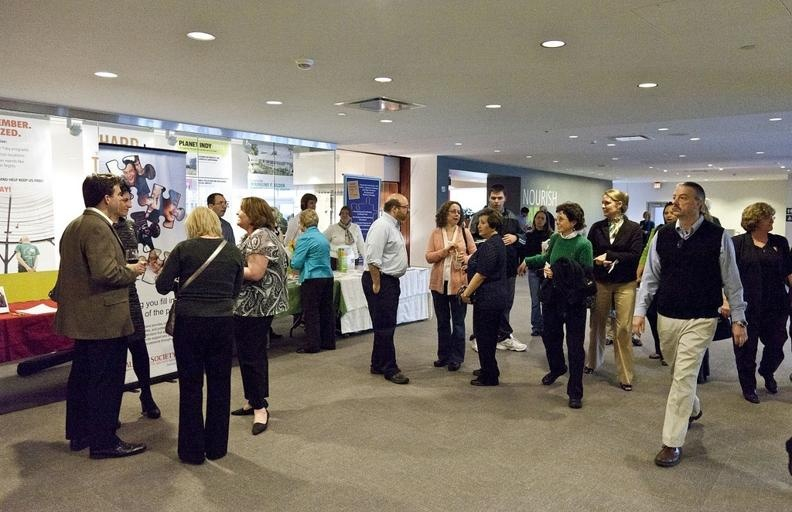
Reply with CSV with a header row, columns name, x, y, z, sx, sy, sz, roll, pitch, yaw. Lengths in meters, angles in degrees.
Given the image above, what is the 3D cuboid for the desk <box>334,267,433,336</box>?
name,x,y,z,sx,sy,sz,roll,pitch,yaw
desk,-0.235,0.654,8.645,1.908,0.844,0.710,-7,9,-40

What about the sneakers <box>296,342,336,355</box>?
name,x,y,z,sx,sy,sz,roll,pitch,yaw
sneakers,-1.129,1.260,7.261,0.537,0.201,0.177,5,-7,-29

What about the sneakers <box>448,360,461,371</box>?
name,x,y,z,sx,sy,sz,roll,pitch,yaw
sneakers,0.711,1.363,6.531,0.121,0.070,0.221,0,-2,19

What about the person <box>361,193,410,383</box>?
name,x,y,z,sx,sy,sz,roll,pitch,yaw
person,-0.106,0.382,6.150,0.579,2.154,0.549,3,12,14

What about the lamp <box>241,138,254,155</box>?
name,x,y,z,sx,sy,sz,roll,pitch,yaw
lamp,-2.527,-1.844,8.954,0.221,0.197,0.058,-7,5,-43

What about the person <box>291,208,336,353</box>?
name,x,y,z,sx,sy,sz,roll,pitch,yaw
person,-1.131,0.342,7.153,0.552,1.938,0.386,-2,12,-10

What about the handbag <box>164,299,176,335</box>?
name,x,y,z,sx,sy,sz,roll,pitch,yaw
handbag,-1.897,0.500,4.421,0.084,0.320,0.379,-5,13,-24

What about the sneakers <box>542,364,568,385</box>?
name,x,y,z,sx,sy,sz,roll,pitch,yaw
sneakers,1.854,1.395,6.150,0.274,0.113,0.092,-39,17,6

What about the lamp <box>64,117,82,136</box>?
name,x,y,z,sx,sy,sz,roll,pitch,yaw
lamp,-4.413,-1.764,7.202,0.221,0.207,0.131,0,2,34

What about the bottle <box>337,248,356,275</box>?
name,x,y,z,sx,sy,sz,roll,pitch,yaw
bottle,-0.823,0.082,8.378,0.193,0.573,0.419,-1,2,26

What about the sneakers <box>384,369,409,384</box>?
name,x,y,z,sx,sy,sz,roll,pitch,yaw
sneakers,0.005,1.411,6.157,0.254,0.098,0.126,-2,-1,40

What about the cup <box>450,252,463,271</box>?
name,x,y,z,sx,sy,sz,roll,pitch,yaw
cup,0.641,0.065,6.205,0.129,0.208,0.200,0,-3,-25

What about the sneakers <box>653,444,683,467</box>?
name,x,y,z,sx,sy,sz,roll,pitch,yaw
sneakers,2.347,1.718,4.538,0.116,0.120,0.290,-5,-7,38

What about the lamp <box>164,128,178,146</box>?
name,x,y,z,sx,sy,sz,roll,pitch,yaw
lamp,-3.491,-1.832,8.112,0.217,0.200,0.123,-10,17,-36
